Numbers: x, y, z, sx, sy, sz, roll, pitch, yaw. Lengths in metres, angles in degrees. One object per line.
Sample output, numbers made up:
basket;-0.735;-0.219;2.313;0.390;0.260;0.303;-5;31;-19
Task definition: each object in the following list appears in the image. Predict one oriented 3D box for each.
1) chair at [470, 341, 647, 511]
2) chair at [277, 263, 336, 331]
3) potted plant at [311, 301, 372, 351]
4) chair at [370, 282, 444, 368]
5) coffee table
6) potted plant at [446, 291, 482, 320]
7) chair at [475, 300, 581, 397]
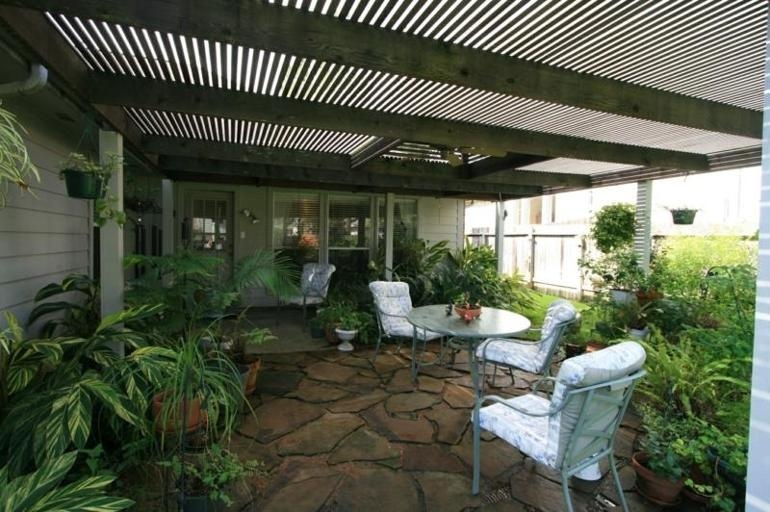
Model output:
chair;1.334;1.273;3.776;1.175;1.235;0.527;2;3;27
chair;-1.345;0.627;8.338;0.925;0.904;0.943;-1;9;13
potted plant;-0.525;1.013;7.404;0.883;0.577;0.925;-1;2;-40
chair;0.327;0.839;6.421;0.910;0.921;0.736;9;10;44
coffee table;0.931;0.820;5.369;1.136;0.683;1.085;0;7;-3
potted plant;0.923;0.601;5.588;0.419;0.219;0.410;0;-3;-7
chair;1.521;0.961;5.295;1.116;0.990;0.827;3;6;12
